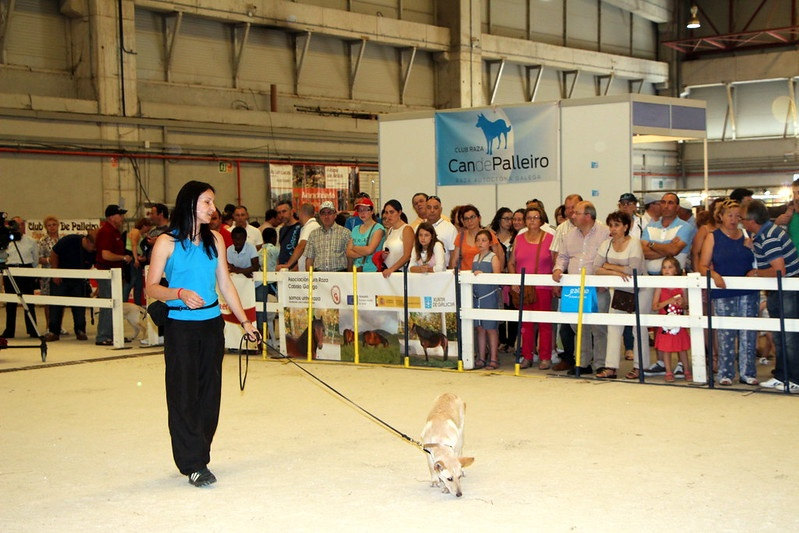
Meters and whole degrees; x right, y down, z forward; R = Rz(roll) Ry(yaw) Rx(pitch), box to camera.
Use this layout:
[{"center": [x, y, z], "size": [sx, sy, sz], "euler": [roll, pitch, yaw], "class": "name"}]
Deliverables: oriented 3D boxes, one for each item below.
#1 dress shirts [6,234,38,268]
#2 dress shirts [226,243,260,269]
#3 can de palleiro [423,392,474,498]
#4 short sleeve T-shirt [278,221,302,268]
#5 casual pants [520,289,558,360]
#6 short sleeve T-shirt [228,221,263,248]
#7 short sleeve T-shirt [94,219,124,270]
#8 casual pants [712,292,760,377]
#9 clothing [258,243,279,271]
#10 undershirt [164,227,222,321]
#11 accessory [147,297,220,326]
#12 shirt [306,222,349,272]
[{"center": [-7.654, -0.302, 20.056], "size": [0.554, 0.670, 0.352], "euler": [1, -6, -22], "class": "dress shirts"}, {"center": [-2.889, -0.162, 18.285], "size": [0.694, 0.655, 0.380], "euler": [-1, -1, 0], "class": "dress shirts"}, {"center": [0.590, 2.282, 12.686], "size": [0.626, 1.206, 0.804], "euler": [-2, 3, 4], "class": "can de palleiro"}, {"center": [-2.085, -0.385, 18.774], "size": [0.626, 0.951, 0.456], "euler": [1, 0, 45], "class": "short sleeve T-shirt"}, {"center": [2.322, 1.000, 16.893], "size": [0.314, 1.305, 0.505], "euler": [19, -22, -23], "class": "casual pants"}, {"center": [-2.996, -0.587, 19.086], "size": [0.693, 0.781, 0.403], "euler": [0, -3, -6], "class": "short sleeve T-shirt"}, {"center": [-5.803, -0.389, 19.831], "size": [0.534, 1.056, 0.889], "euler": [0, 12, -11], "class": "short sleeve T-shirt"}, {"center": [5.280, 1.096, 15.649], "size": [0.698, 1.354, 0.672], "euler": [-2, 3, 6], "class": "casual pants"}, {"center": [-2.488, -0.168, 18.697], "size": [0.433, 0.525, 0.264], "euler": [0, 5, -13], "class": "clothing"}, {"center": [-2.817, -0.005, 13.006], "size": [0.402, 0.816, 0.562], "euler": [2, -26, 12], "class": "undershirt"}, {"center": [-2.941, 0.565, 12.857], "size": [0.543, 0.246, 0.374], "euler": [-3, 4, -6], "class": "accessory"}, {"center": [-1.282, -0.312, 17.572], "size": [0.703, 0.756, 0.375], "euler": [-1, -7, 14], "class": "shirt"}]
